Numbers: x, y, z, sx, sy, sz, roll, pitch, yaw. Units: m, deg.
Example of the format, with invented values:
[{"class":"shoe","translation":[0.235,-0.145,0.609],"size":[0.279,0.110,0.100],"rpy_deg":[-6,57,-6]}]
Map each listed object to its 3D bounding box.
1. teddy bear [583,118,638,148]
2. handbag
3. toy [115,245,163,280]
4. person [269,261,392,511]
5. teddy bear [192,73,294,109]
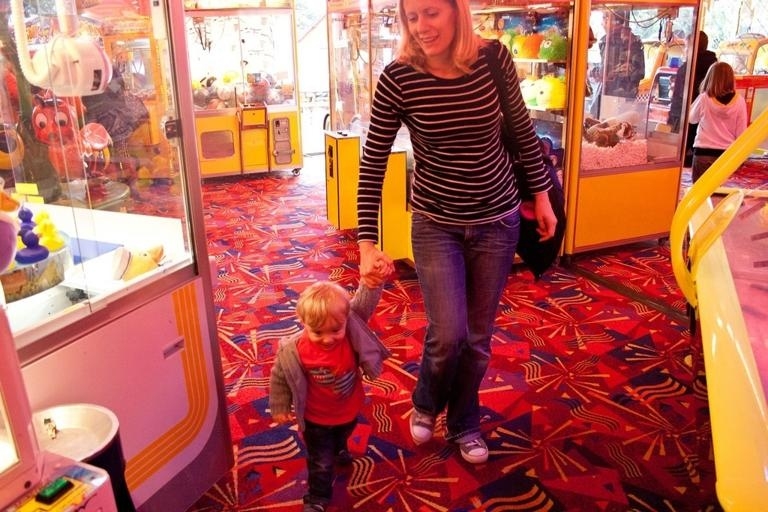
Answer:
[{"class":"teddy bear","translation":[1.929,-1.061,4.222],"size":[0.613,0.241,0.141],"rpy_deg":[-16,24,-33]},{"class":"handbag","translation":[0.610,-0.157,2.213],"size":[0.324,0.460,0.421],"rpy_deg":[-4,10,28]},{"class":"toy","translation":[-0.912,0.020,1.821],"size":[0.084,0.068,0.123],"rpy_deg":[28,30,0]},{"class":"person","translation":[-0.209,0.534,1.980],"size":[0.487,1.007,0.199],"rpy_deg":[-13,22,-28]},{"class":"teddy bear","translation":[-1.989,-2.361,7.012],"size":[1.384,0.456,0.384],"rpy_deg":[-10,21,-19]}]
